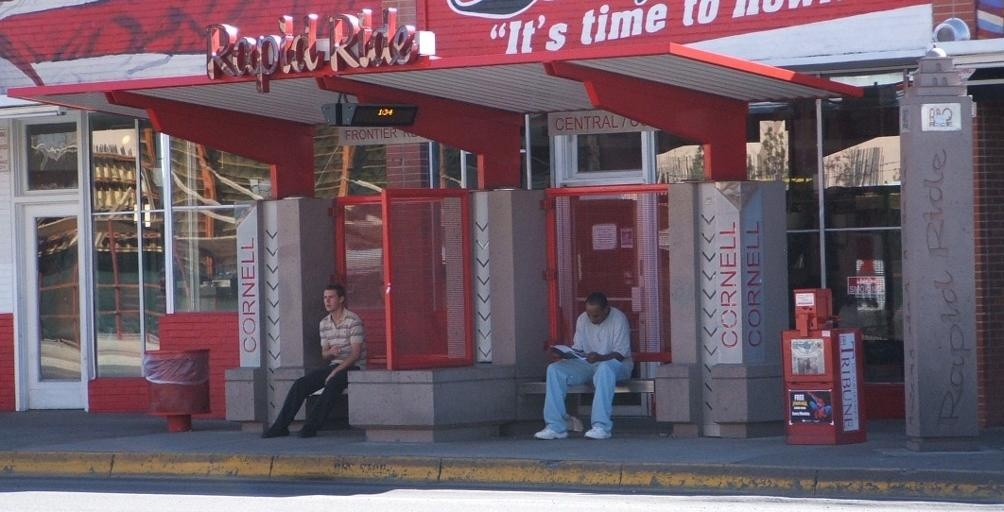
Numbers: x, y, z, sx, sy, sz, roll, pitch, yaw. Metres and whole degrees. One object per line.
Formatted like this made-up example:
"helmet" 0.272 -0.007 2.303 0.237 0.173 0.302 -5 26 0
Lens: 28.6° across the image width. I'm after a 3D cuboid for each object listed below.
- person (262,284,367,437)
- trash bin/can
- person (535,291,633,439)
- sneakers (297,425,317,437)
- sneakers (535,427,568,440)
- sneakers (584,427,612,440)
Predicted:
"person" -3.074 1.756 33.197 1.479 2.551 0.581 -1 -4 -4
"trash bin/can" -5.608 2.315 33.911 1.087 1.389 0.436 -1 -4 -11
"person" 1.398 1.813 32.761 1.537 2.420 1.007 -1 -3 -4
"sneakers" -3.270 2.928 32.852 0.402 0.212 0.195 2 1 -18
"sneakers" 0.776 2.918 32.448 0.579 0.223 0.188 3 -1 -8
"sneakers" 1.559 2.906 32.301 0.450 0.149 0.169 3 -3 -16
